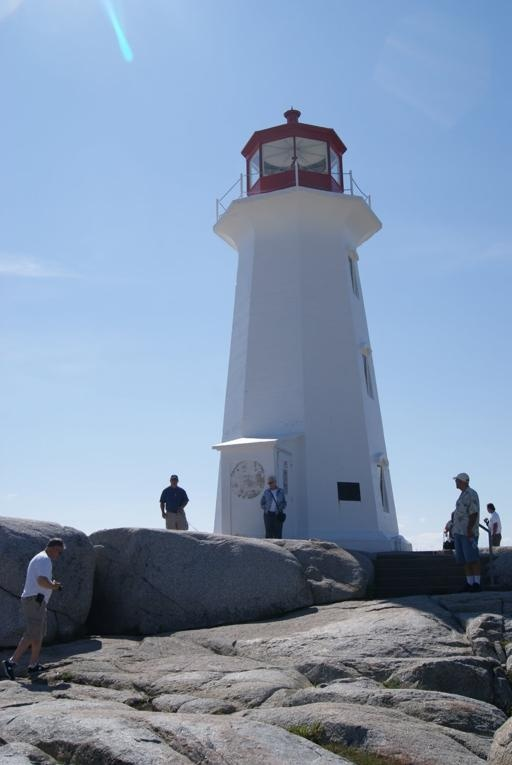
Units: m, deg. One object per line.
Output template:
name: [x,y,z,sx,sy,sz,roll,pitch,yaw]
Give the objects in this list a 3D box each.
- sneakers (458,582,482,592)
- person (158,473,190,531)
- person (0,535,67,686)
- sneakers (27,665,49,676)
sneakers: [3.237,3.123,10.358,0.187,0.130,0.329,-5,-14,8]
person: [-1.583,2.559,13.367,0.563,1.395,0.429,-1,9,-6]
person: [-2.444,2.468,7.664,0.454,1.385,2.034,7,-17,-14]
sneakers: [-2.198,2.937,6.971,0.086,0.090,0.219,-1,-3,34]
